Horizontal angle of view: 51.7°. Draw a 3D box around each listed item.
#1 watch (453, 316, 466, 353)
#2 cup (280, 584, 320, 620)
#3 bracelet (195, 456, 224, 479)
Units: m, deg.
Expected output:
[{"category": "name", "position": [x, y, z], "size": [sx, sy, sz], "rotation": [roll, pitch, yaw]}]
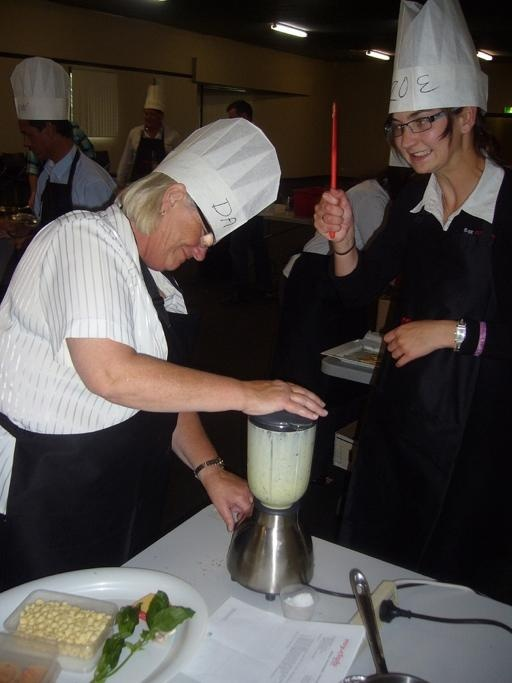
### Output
[{"category": "watch", "position": [0.430, -0.013, 1.112], "size": [0.020, 0.061, 0.031], "rotation": [0, 17, -2]}, {"category": "cup", "position": [0.061, 0.370, 0.749], "size": [0.051, 0.037, 0.056], "rotation": [0, 17, -1]}, {"category": "bracelet", "position": [-0.095, 0.246, 1.057], "size": [0.052, 0.035, 0.053], "rotation": [26, -39, -35]}]
